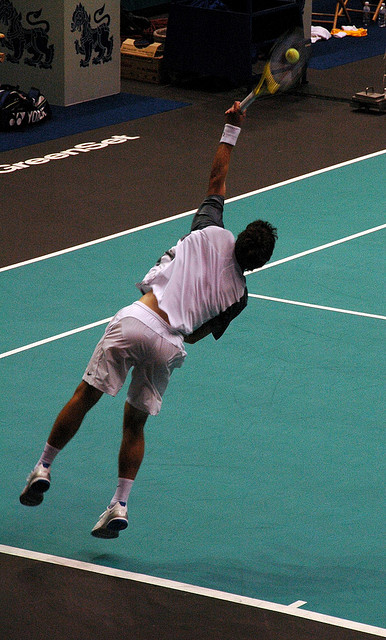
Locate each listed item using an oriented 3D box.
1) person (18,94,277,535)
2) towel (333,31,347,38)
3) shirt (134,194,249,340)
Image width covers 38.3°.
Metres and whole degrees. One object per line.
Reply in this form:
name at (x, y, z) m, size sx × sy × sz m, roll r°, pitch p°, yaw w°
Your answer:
person at (-0.225, -0.046, 3.243) m, size 0.869 × 2.502 × 0.791 m, roll 31°, pitch -24°, yaw -7°
towel at (5.457, -10.563, 20.551) m, size 0.348 × 0.121 × 0.345 m, roll 27°, pitch 48°, yaw 26°
shirt at (0.025, -0.276, 3.024) m, size 0.467 × 0.811 × 0.583 m, roll -3°, pitch 22°, yaw -20°
